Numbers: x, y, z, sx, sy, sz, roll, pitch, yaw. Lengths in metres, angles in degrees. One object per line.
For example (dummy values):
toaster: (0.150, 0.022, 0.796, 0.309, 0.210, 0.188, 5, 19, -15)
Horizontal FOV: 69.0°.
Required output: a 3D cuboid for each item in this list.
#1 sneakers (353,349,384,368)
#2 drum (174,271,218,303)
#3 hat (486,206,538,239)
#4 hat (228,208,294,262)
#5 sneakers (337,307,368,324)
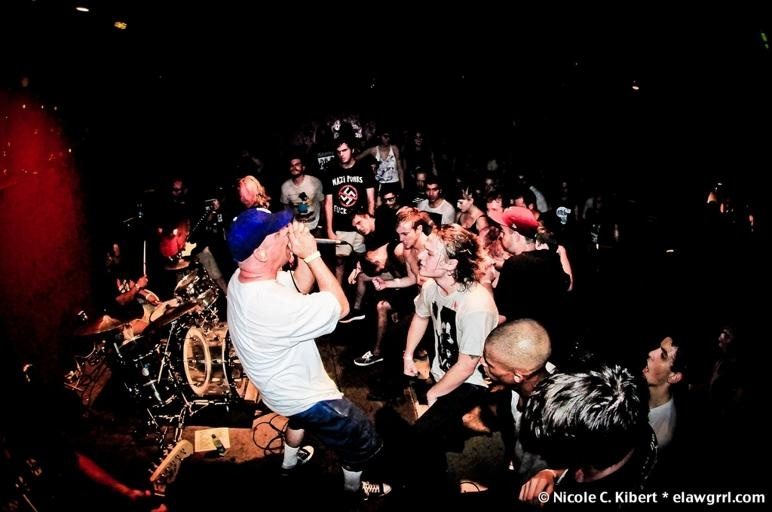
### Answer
sneakers: (-0.232, 1.352, 7.413, 0.445, 0.167, 0.153, -1, 40, -12)
drum: (-2.405, 0.407, 7.199, 0.490, 0.320, 0.389, -36, 2, 14)
hat: (1.522, -0.465, 6.632, 0.638, 0.299, 0.410, 16, 35, 9)
hat: (-1.321, -0.268, 5.535, 0.341, 0.604, 0.428, 22, 34, -10)
sneakers: (-0.457, 0.882, 8.132, 0.476, 0.190, 0.154, -3, -8, -15)
